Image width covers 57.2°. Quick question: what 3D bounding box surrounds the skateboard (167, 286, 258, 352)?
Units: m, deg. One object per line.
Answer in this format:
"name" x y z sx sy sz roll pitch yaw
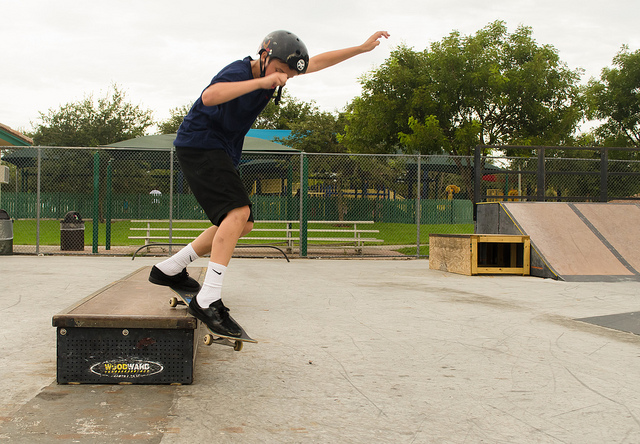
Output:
"skateboard" -0.961 0.768 4.858 0.338 0.184 1.328 11 6 -37

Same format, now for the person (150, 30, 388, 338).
"person" -0.660 -0.358 4.831 1.421 2.415 0.882 -1 9 -15

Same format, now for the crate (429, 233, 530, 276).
"crate" 2.784 0.539 10.299 1.493 0.814 1.377 2 8 2

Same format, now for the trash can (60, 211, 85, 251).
"trash can" -5.836 0.180 13.873 0.678 0.893 0.656 1 4 -1
